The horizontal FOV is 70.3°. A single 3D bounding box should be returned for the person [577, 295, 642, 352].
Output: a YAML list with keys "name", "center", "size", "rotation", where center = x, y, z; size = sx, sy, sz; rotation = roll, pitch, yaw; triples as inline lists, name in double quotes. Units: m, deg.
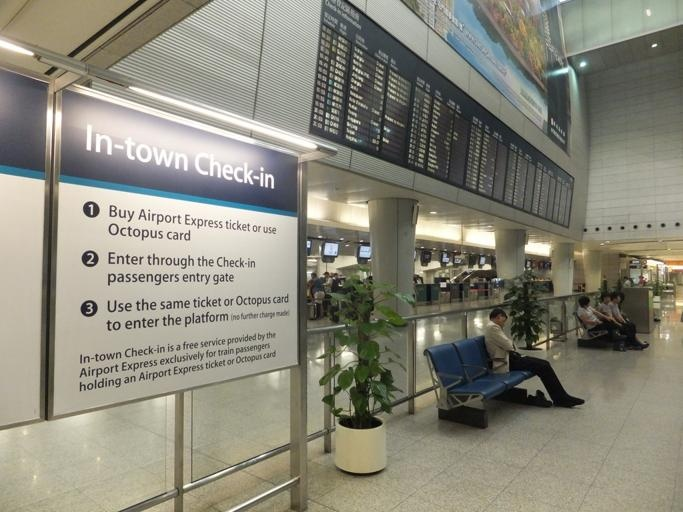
- name: "person"
  center: [6.066, 1.517, 11.084]
  size: [0.573, 0.909, 1.361]
  rotation: [5, 1, -43]

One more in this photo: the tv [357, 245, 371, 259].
- name: "tv"
  center: [0.717, -0.080, 13.943]
  size: [0.290, 0.510, 0.565]
  rotation: [3, 1, 34]

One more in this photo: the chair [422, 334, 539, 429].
- name: "chair"
  center: [1.626, 1.574, 6.039]
  size: [0.780, 0.918, 1.234]
  rotation: [-4, -3, 42]

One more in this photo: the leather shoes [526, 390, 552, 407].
- name: "leather shoes"
  center: [2.608, 1.946, 6.582]
  size: [0.137, 0.195, 0.409]
  rotation: [-1, -4, -30]

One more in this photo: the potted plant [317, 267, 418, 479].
- name: "potted plant"
  center: [0.163, 1.202, 4.751]
  size: [0.742, 1.864, 0.722]
  rotation: [2, -5, 10]

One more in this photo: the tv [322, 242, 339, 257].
- name: "tv"
  center: [-0.291, -0.161, 12.897]
  size: [0.156, 0.372, 0.583]
  rotation: [-3, -2, 32]
